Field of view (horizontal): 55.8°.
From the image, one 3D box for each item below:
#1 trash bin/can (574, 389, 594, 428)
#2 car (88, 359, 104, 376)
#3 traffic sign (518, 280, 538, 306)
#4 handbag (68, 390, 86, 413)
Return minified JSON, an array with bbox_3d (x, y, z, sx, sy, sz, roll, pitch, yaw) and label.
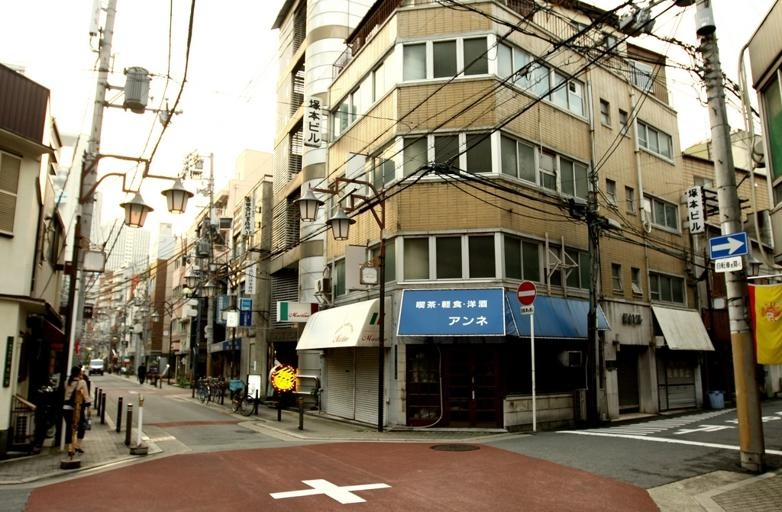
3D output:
[{"bbox_3d":[8.362,6.498,31.852,0.733,1.559,0.378,0,-15,-2],"label":"trash bin/can"},{"bbox_3d":[-35.377,13.153,88.264,1.500,1.405,2.730,2,-11,-25],"label":"car"},{"bbox_3d":[5.513,1.457,29.730,0.666,1.046,1.167,-5,-16,15],"label":"traffic sign"},{"bbox_3d":[-11.047,5.226,25.917,0.607,0.634,1.103,1,-7,-24],"label":"handbag"}]
